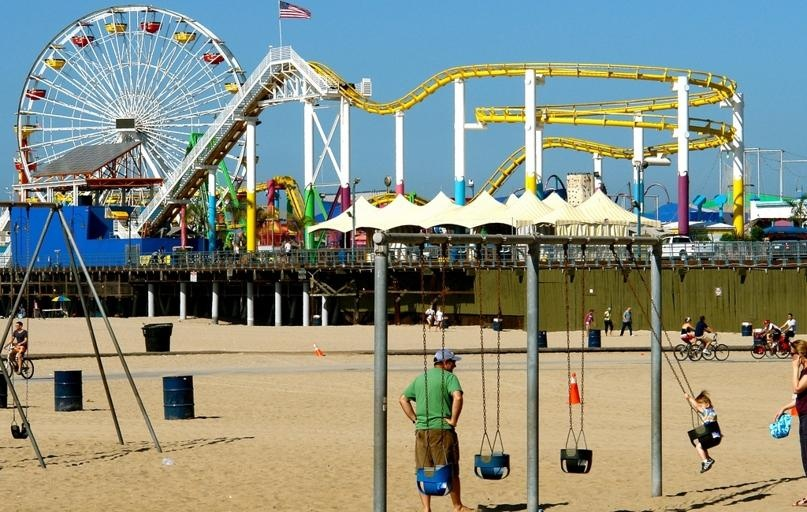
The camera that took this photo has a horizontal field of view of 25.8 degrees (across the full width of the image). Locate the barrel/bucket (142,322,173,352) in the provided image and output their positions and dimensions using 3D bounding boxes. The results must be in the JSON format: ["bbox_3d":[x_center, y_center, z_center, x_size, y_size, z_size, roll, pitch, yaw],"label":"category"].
[{"bbox_3d":[-12.028,3.985,85.369,1.453,1.449,1.374,-1,-8,0],"label":"barrel/bucket"}]

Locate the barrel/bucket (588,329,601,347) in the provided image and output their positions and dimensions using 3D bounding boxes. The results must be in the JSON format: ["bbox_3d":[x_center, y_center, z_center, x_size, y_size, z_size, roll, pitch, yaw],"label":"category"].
[{"bbox_3d":[9.341,4.064,86.209,0.766,0.774,0.743,0,-5,0],"label":"barrel/bucket"}]

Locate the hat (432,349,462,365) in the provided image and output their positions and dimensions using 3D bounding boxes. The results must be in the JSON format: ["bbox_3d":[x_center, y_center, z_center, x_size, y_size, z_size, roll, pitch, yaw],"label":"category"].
[{"bbox_3d":[1.509,3.497,60.785,0.979,0.426,0.630,0,1,-7],"label":"hat"}]

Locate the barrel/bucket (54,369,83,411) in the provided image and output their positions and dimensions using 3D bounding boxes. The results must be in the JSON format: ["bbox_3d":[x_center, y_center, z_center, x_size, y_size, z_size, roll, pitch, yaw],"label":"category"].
[{"bbox_3d":[-13.252,5.368,69.743,1.058,1.373,0.652,-1,0,-14],"label":"barrel/bucket"}]

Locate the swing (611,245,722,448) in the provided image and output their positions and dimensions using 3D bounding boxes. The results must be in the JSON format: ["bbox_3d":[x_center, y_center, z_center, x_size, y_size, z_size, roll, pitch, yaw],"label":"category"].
[{"bbox_3d":[9.829,3.114,64.511,4.009,8.732,2.602,0,2,-10],"label":"swing"}]

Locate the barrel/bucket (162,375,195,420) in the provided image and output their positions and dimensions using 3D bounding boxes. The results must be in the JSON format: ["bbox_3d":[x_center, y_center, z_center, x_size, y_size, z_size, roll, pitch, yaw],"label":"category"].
[{"bbox_3d":[-8.797,5.538,69.541,1.623,2.134,1.538,-1,3,0],"label":"barrel/bucket"}]

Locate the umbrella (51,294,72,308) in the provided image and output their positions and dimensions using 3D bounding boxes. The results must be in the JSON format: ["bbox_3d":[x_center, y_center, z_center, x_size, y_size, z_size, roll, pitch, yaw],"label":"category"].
[{"bbox_3d":[-22.034,2.861,113.720,1.033,0.661,0.993,0,-9,-3],"label":"umbrella"}]

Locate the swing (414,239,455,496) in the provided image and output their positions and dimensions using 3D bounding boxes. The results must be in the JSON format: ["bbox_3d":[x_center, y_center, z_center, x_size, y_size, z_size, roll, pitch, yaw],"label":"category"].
[{"bbox_3d":[1.133,6.003,60.664,1.733,7.276,0.787,-1,0,-1],"label":"swing"}]

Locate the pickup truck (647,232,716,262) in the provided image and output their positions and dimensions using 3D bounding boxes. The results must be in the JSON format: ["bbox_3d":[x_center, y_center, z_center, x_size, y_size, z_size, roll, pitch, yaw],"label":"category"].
[{"bbox_3d":[13.940,-0.422,88.460,1.565,1.122,2.968,-1,5,-33],"label":"pickup truck"}]

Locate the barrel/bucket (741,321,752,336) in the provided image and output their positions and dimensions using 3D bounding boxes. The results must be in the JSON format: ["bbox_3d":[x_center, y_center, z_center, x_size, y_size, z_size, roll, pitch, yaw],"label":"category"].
[{"bbox_3d":[17.693,3.790,90.977,0.633,0.632,0.614,0,-2,0],"label":"barrel/bucket"}]

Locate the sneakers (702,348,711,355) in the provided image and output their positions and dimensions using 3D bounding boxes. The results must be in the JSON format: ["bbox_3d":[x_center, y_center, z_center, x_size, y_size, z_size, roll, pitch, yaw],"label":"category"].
[{"bbox_3d":[13.857,4.398,80.474,0.309,0.213,0.206,26,-29,-22],"label":"sneakers"}]
